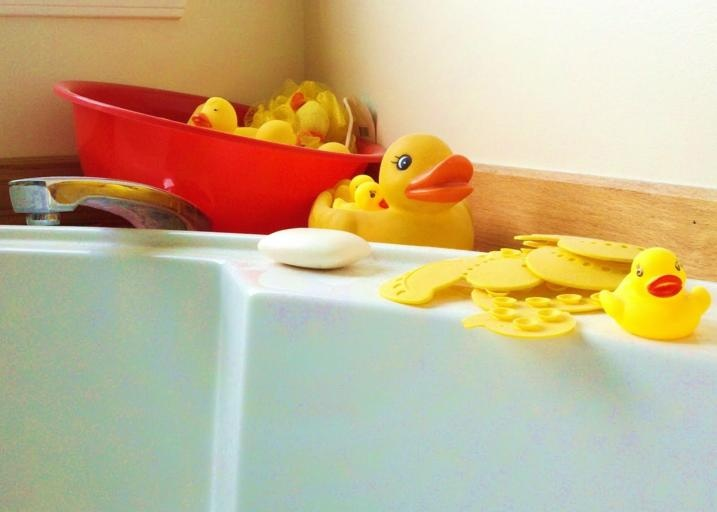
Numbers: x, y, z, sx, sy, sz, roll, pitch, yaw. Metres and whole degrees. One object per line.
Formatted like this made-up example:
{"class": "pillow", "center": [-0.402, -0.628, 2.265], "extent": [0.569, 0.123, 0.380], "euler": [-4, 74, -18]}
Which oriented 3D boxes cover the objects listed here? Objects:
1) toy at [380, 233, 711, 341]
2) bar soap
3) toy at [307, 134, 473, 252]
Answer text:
{"class": "toy", "center": [0.186, 0.030, 0.624], "extent": [0.164, 0.046, 0.163], "euler": [-14, 20, -35]}
{"class": "bar soap", "center": [-0.056, -0.008, 0.765], "extent": [0.141, 0.045, 0.080], "euler": [5, -5, 19]}
{"class": "toy", "center": [0.052, -0.084, 0.905], "extent": [0.198, 0.141, 0.151], "euler": [2, 4, 40]}
